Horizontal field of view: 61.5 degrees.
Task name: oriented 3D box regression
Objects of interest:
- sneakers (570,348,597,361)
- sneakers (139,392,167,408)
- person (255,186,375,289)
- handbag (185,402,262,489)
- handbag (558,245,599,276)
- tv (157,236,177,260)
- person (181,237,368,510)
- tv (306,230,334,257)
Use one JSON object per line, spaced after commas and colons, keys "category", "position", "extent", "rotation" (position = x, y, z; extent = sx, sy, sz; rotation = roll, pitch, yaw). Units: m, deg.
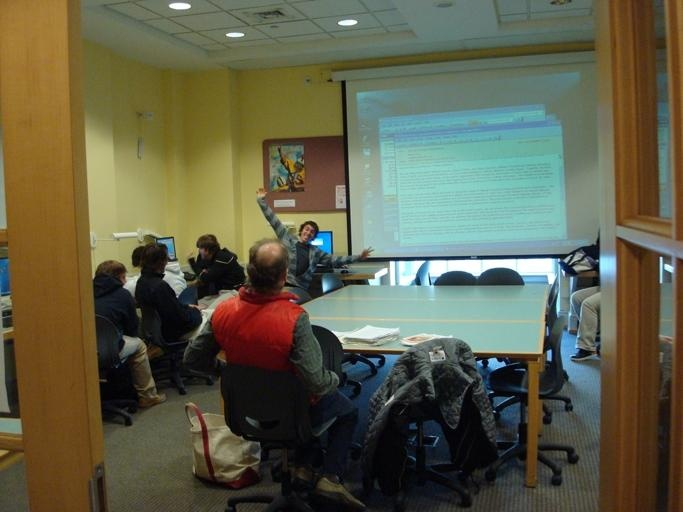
{"category": "sneakers", "position": [2.255, 0.898, 5.269], "extent": [0.277, 0.126, 0.101], "rotation": [1, -3, 0]}
{"category": "sneakers", "position": [-1.424, 1.099, 4.378], "extent": [0.075, 0.092, 0.210], "rotation": [3, 5, 24]}
{"category": "person", "position": [-0.164, -0.206, 5.992], "extent": [0.966, 0.303, 1.023], "rotation": [32, 38, 1]}
{"category": "handbag", "position": [-0.615, 1.052, 3.333], "extent": [0.471, 0.522, 0.347], "rotation": [0, 1, 15]}
{"category": "handbag", "position": [2.433, 0.035, 5.764], "extent": [0.346, 0.143, 0.281], "rotation": [-26, 19, -31]}
{"category": "tv", "position": [-1.668, -0.081, 5.524], "extent": [0.186, 0.228, 0.233], "rotation": [-6, 3, 39]}
{"category": "person", "position": [-0.264, 0.598, 2.791], "extent": [0.671, 1.378, 0.720], "rotation": [2, 7, 38]}
{"category": "tv", "position": [-0.225, -0.140, 6.737], "extent": [0.253, 0.257, 0.251], "rotation": [0, -3, 18]}
